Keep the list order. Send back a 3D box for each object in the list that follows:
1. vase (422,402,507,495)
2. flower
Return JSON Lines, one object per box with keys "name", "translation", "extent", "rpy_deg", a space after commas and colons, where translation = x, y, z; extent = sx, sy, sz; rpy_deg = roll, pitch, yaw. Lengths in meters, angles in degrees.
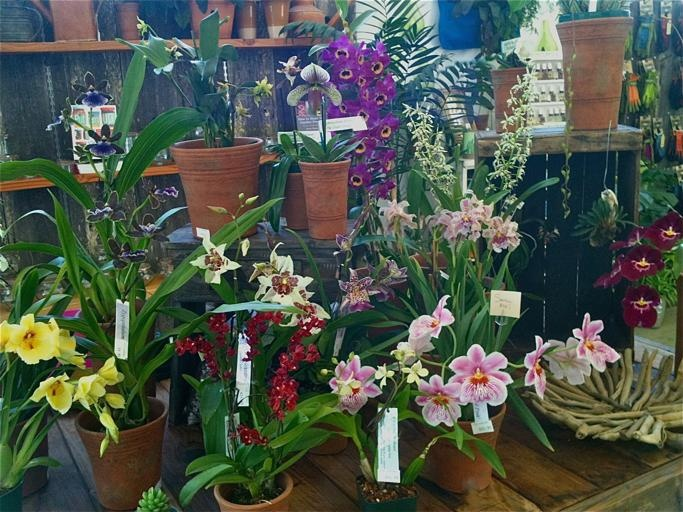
{"name": "vase", "translation": [0.431, 0.670, 2.026], "extent": [0.297, 0.242, 0.307], "rpy_deg": [1, 9, 14]}
{"name": "flower", "translation": [-0.024, -0.046, 1.949], "extent": [2.024, 1.608, 0.889], "rpy_deg": [-4, 12, -12]}
